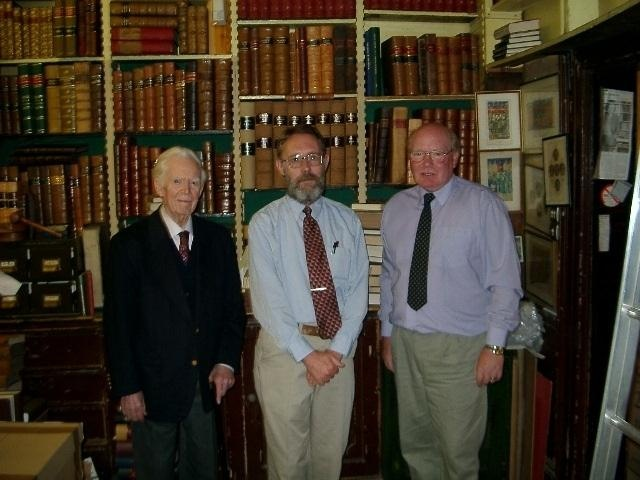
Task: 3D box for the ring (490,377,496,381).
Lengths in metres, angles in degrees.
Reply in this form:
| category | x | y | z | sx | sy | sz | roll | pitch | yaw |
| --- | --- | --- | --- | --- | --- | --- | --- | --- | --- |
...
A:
| category | x | y | z | sx | sy | sz | roll | pitch | yaw |
| --- | --- | --- | --- | --- | --- | --- | --- | --- | --- |
| ring | 0.866 | 0.692 | 2.992 | 0.019 | 0.021 | 0.005 | -1 | 7 | 2 |

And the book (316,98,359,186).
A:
| category | x | y | z | sx | sy | sz | roll | pitch | yaw |
| --- | --- | --- | --- | --- | --- | --- | --- | --- | --- |
| book | 0.146 | -0.749 | 4.660 | 0.463 | 0.682 | 0.669 | -1 | 1 | -5 |

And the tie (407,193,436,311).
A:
| category | x | y | z | sx | sy | sz | roll | pitch | yaw |
| --- | --- | --- | --- | --- | --- | --- | --- | --- | --- |
| tie | 0.520 | 0.063 | 3.112 | 0.112 | 0.591 | 0.032 | 3 | -11 | 30 |

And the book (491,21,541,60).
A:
| category | x | y | z | sx | sy | sz | roll | pitch | yaw |
| --- | --- | --- | --- | --- | --- | --- | --- | --- | --- |
| book | 1.260 | -1.310 | 3.885 | 0.247 | 0.248 | 0.342 | -1 | 1 | -16 |

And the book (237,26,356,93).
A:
| category | x | y | z | sx | sy | sz | roll | pitch | yaw |
| --- | --- | --- | --- | --- | --- | --- | --- | --- | --- |
| book | -0.164 | -1.308 | 4.316 | 0.846 | 0.525 | 0.142 | -3 | 6 | -10 |

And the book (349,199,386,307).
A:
| category | x | y | z | sx | sy | sz | roll | pitch | yaw |
| --- | --- | --- | --- | --- | --- | --- | --- | --- | --- |
| book | 0.276 | 0.094 | 3.416 | 0.279 | 0.566 | 0.551 | -1 | 5 | -3 |

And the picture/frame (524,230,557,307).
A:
| category | x | y | z | sx | sy | sz | roll | pitch | yaw |
| --- | --- | --- | --- | --- | --- | --- | --- | --- | --- |
| picture/frame | 1.358 | 0.165 | 3.653 | 0.114 | 0.392 | 0.351 | -1 | 19 | -9 |

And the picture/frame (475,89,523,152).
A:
| category | x | y | z | sx | sy | sz | roll | pitch | yaw |
| --- | --- | --- | --- | --- | --- | --- | --- | --- | --- |
| picture/frame | 1.168 | -0.780 | 3.858 | 0.351 | 0.523 | 0.025 | -1 | 1 | 3 |

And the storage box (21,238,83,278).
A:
| category | x | y | z | sx | sy | sz | roll | pitch | yaw |
| --- | --- | --- | --- | --- | --- | --- | --- | --- | --- |
| storage box | -1.712 | 0.134 | 3.833 | 0.342 | 0.260 | 0.222 | -1 | 9 | -3 |

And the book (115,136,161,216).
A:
| category | x | y | z | sx | sy | sz | roll | pitch | yaw |
| --- | --- | --- | --- | --- | --- | --- | --- | --- | --- |
| book | -1.392 | -0.430 | 4.627 | 0.437 | 0.652 | 0.631 | -1 | 1 | -7 |

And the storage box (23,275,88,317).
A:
| category | x | y | z | sx | sy | sz | roll | pitch | yaw |
| --- | --- | --- | --- | --- | --- | --- | --- | --- | --- |
| storage box | -1.680 | 0.376 | 3.917 | 0.271 | 0.189 | 0.274 | 0 | -4 | -9 |

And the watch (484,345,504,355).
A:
| category | x | y | z | sx | sy | sz | roll | pitch | yaw |
| --- | --- | --- | --- | --- | --- | --- | --- | --- | --- |
| watch | 0.877 | 0.544 | 2.977 | 0.058 | 0.034 | 0.051 | 5 | 6 | -2 |

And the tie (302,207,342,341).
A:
| category | x | y | z | sx | sy | sz | roll | pitch | yaw |
| --- | --- | --- | --- | --- | --- | --- | --- | --- | --- |
| tie | -0.003 | 0.161 | 3.031 | 0.126 | 0.653 | 0.205 | -5 | 7 | -32 |

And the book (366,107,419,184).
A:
| category | x | y | z | sx | sy | sz | roll | pitch | yaw |
| --- | --- | --- | --- | --- | --- | --- | --- | --- | --- |
| book | 0.488 | -0.644 | 4.621 | 0.438 | 0.643 | 0.617 | -1 | -2 | -6 |
